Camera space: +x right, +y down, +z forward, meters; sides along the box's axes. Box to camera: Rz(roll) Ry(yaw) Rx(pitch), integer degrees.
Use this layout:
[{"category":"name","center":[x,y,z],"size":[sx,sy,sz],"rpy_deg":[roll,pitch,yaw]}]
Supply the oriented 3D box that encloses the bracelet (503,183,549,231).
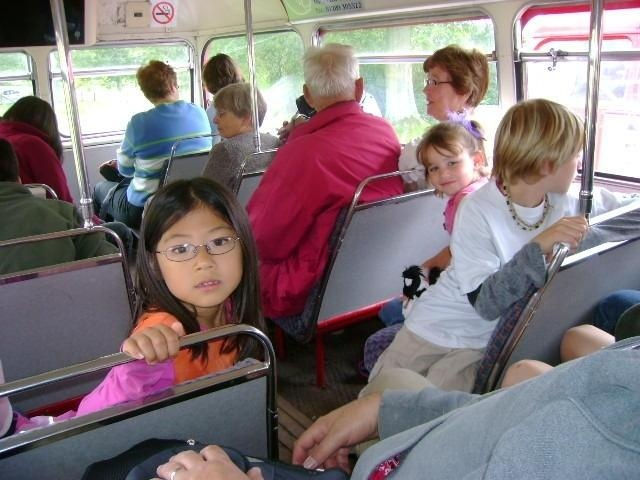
[{"category":"bracelet","center":[0.896,-0.134,2.080],"size":[0.165,0.216,0.056],"rpy_deg":[-27,4,1]}]

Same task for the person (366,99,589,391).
[{"category":"person","center":[0.677,0.310,2.148],"size":[0.533,1.139,0.498],"rpy_deg":[11,-15,26]}]
